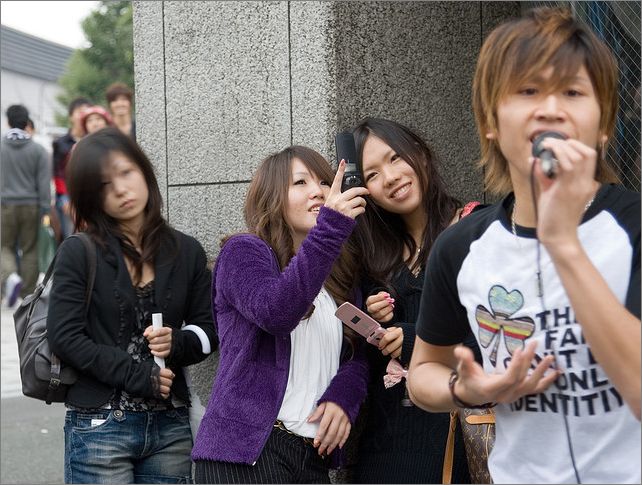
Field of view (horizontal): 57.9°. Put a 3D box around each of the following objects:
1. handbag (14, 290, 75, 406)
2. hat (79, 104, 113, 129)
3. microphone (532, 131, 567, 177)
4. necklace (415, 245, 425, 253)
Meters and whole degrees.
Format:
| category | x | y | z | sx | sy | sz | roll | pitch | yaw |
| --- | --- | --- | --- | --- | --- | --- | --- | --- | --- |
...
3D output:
| category | x | y | z | sx | sy | sz | roll | pitch | yaw |
| --- | --- | --- | --- | --- | --- | --- | --- | --- | --- |
| handbag | -1.442 | 0.520 | 2.972 | 0.189 | 0.559 | 0.480 | -2 | 3 | -42 |
| hat | -2.484 | -1.361 | 6.382 | 0.284 | 0.238 | 0.253 | 0 | 12 | 21 |
| microphone | 0.517 | -0.196 | 1.318 | 0.051 | 0.102 | 0.075 | 1 | 2 | 4 |
| necklace | 0.519 | 0.036 | 3.034 | 0.025 | 0.038 | 0.013 | -4 | -14 | 24 |
